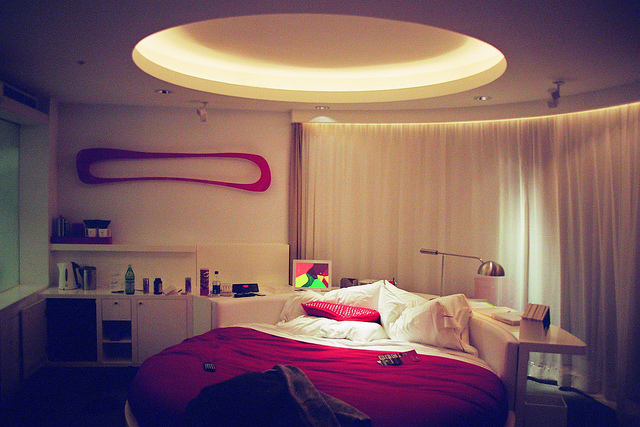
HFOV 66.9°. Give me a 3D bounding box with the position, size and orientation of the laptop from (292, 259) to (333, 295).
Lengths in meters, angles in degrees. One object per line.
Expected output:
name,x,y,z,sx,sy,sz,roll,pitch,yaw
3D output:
laptop,-0.056,0.815,6.221,0.524,0.450,0.367,4,-9,-16

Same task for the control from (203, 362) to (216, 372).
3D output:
control,-1.025,1.424,4.514,0.079,0.019,0.075,2,9,3

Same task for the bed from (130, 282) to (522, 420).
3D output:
bed,0.059,1.370,4.710,3.240,1.152,1.980,0,-3,-21

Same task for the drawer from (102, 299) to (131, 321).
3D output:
drawer,-2.501,1.170,5.978,0.434,0.301,0.231,0,-3,-7
